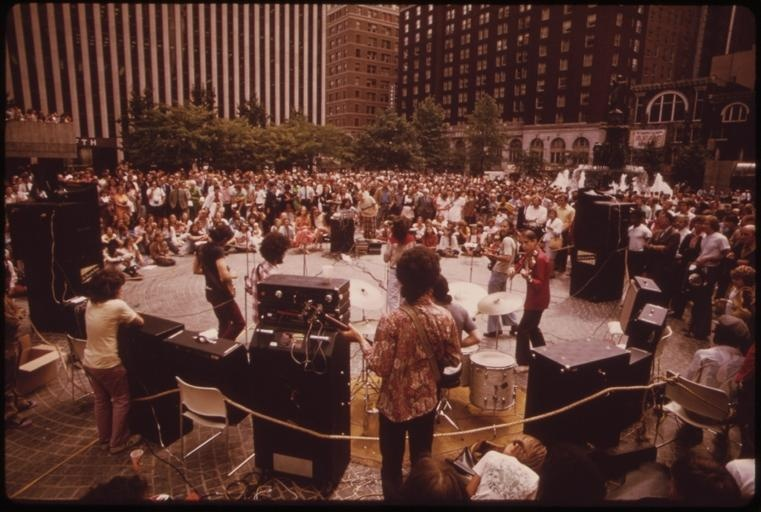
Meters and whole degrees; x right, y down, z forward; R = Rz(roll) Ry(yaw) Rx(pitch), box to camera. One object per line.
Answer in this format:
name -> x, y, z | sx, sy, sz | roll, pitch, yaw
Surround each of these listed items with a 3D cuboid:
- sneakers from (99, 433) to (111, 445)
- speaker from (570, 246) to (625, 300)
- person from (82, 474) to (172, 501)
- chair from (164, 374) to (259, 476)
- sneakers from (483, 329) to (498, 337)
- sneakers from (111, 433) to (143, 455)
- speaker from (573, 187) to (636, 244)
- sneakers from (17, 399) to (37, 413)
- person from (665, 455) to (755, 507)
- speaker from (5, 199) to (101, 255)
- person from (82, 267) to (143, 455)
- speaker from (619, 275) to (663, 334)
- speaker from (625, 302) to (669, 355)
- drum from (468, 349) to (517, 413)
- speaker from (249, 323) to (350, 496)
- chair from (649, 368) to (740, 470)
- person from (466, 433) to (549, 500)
sneakers -> -4.258, 2.833, 8.781 | 0.162, 0.156, 0.163 | 1, 4, 23
speaker -> 5.056, 0.278, 13.638 | 1.107, 1.242, 1.088 | 0, 16, 7
person -> -3.412, 3.127, 7.579 | 0.800, 0.235, 0.590 | 9, -15, -32
chair -> -2.559, 2.527, 8.555 | 0.992, 1.650, 1.167 | 8, 21, 13
sneakers -> 2.212, 1.554, 11.459 | 0.275, 0.118, 0.094 | 3, 4, 18
sneakers -> -3.887, 2.892, 8.793 | 0.182, 0.192, 0.451 | 14, 20, 42
speaker -> 4.956, -0.774, 13.057 | 1.251, 1.616, 1.177 | 4, 9, 37
sneakers -> -5.813, 2.439, 9.367 | 0.242, 0.168, 0.158 | -8, 15, -37
person -> 4.405, 3.016, 7.633 | 0.755, 0.279, 0.757 | 3, 13, 13
speaker -> -6.422, -0.550, 11.517 | 1.784, 1.714, 1.020 | -1, -2, -17
person -> -4.077, 1.573, 8.629 | 0.812, 2.756, 0.564 | -3, 13, -14
speaker -> 4.697, 0.880, 10.249 | 0.475, 0.871, 0.491 | 4, 56, 7
speaker -> 4.408, 1.198, 9.516 | 0.674, 0.694, 0.391 | -36, 36, -26
drum -> 1.833, 2.011, 9.444 | 0.859, 0.816, 0.866 | 1, 12, 13
speaker -> -1.134, 2.176, 8.553 | 1.385, 2.397, 0.940 | 4, 10, 25
chair -> 4.856, 2.205, 9.232 | 1.146, 1.800, 1.365 | 16, 46, 36
person -> 1.656, 2.773, 7.461 | 1.025, 0.622, 0.661 | 2, 12, 8
